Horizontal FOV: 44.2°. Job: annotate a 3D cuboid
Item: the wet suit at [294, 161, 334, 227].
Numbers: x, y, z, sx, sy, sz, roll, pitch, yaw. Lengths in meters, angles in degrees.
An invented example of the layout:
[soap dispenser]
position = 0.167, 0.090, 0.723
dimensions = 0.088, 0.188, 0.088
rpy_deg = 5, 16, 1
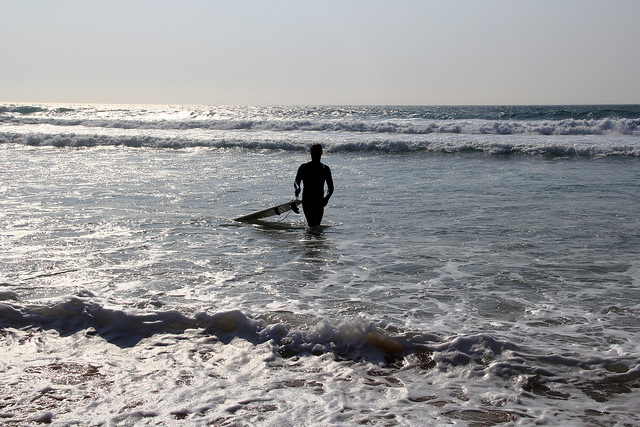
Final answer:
[wet suit]
position = -0.132, -0.411, 16.367
dimensions = 0.786, 1.319, 0.582
rpy_deg = 0, 13, -6
